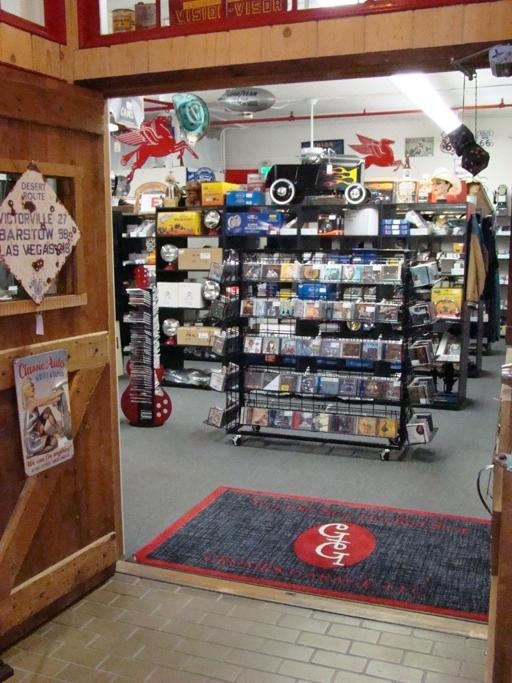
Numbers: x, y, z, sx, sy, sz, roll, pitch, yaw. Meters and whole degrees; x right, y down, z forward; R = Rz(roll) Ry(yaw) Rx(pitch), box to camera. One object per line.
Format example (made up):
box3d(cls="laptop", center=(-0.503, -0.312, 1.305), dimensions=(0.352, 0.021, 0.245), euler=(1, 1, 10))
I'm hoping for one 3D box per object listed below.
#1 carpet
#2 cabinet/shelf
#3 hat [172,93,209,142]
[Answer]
box3d(cls="carpet", center=(0.416, 1.240, 3.243), dimensions=(1.977, 0.077, 1.332), euler=(2, 2, 19))
box3d(cls="cabinet/shelf", center=(0.611, -0.183, 5.903), dimensions=(3.305, 2.810, 1.113), euler=(2, 2, 21))
box3d(cls="hat", center=(-0.874, -2.967, 6.856), dimensions=(0.444, 0.662, 0.266), euler=(2, 2, -5))
